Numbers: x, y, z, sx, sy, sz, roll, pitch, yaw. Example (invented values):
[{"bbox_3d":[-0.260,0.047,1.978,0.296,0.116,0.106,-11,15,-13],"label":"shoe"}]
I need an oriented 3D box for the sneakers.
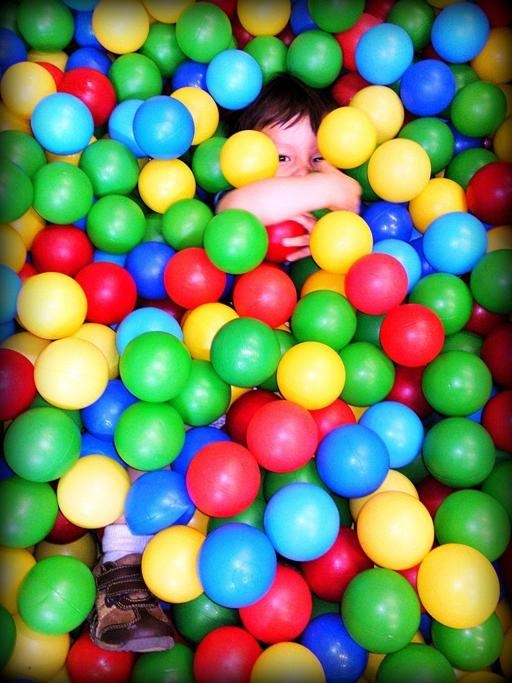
[{"bbox_3d":[-0.347,0.707,1.748,0.136,0.309,0.150,7,87,-25],"label":"sneakers"}]
